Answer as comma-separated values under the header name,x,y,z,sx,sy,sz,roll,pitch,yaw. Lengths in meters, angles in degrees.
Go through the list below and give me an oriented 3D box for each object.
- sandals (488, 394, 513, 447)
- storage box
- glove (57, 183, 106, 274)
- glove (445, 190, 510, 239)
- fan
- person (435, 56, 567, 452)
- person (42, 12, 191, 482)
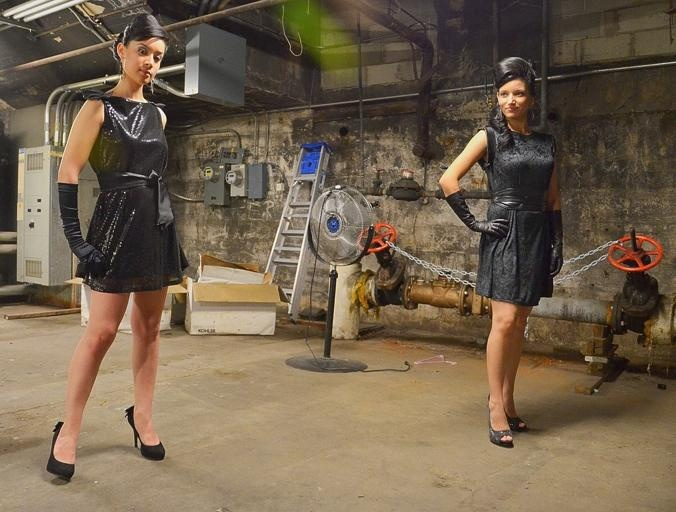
name,x,y,z,sx,sy,sz,roll,pitch,yaw
sandals,0.989,1.025,3.731,0.093,0.089,0.331,-3,40,1
storage box,-1.346,0.472,6.428,1.505,0.677,1.135,0,1,7
glove,-1.311,-0.119,3.093,0.228,0.500,0.187,7,8,44
glove,0.847,-0.253,3.717,0.337,0.251,0.121,43,9,7
fan,-0.052,0.173,5.228,0.760,1.530,0.688,7,8,41
person,1.034,-0.024,3.715,0.609,2.315,0.522,-4,8,-43
person,-1.157,-0.058,3.227,0.694,2.420,0.401,0,6,-15
